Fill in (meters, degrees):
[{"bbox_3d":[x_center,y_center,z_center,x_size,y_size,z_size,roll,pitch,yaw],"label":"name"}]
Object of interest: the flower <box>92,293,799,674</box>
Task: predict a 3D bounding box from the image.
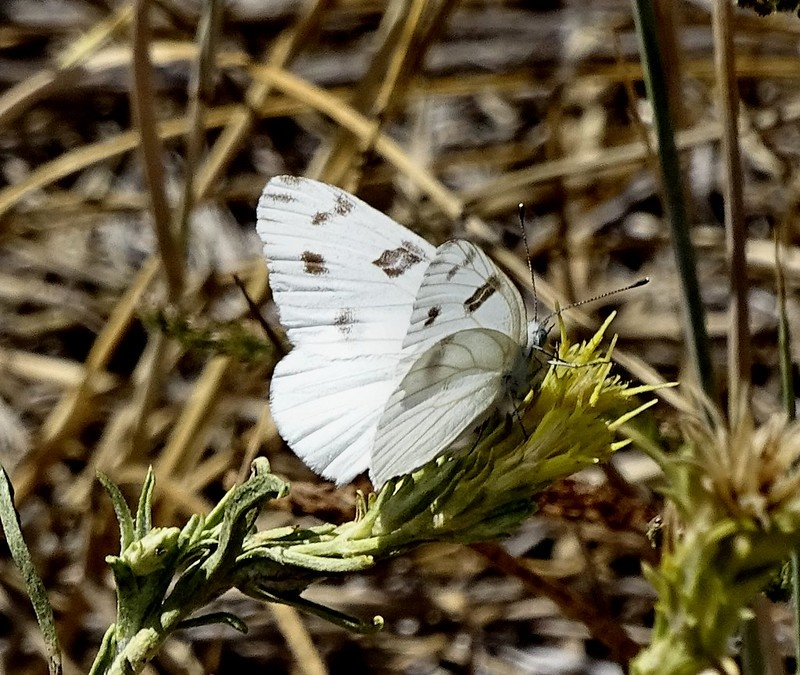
[{"bbox_3d":[0.113,0.335,2.017,0.848,0.376,0.742,-41,21,-28],"label":"flower"}]
